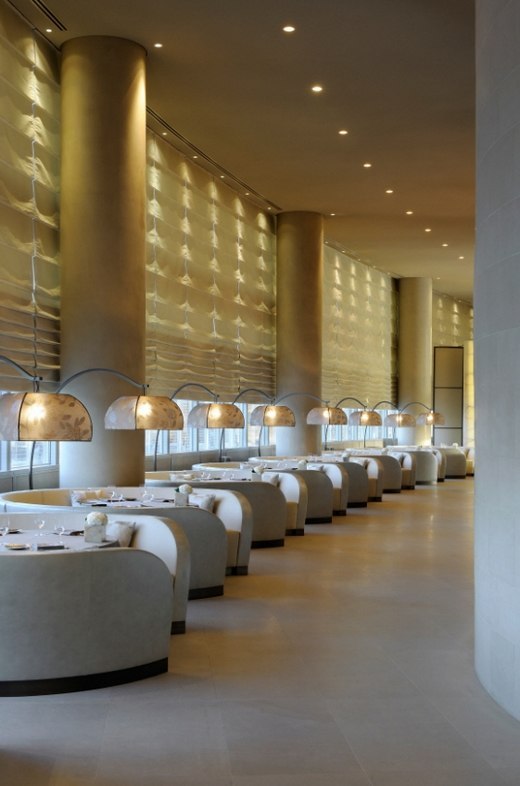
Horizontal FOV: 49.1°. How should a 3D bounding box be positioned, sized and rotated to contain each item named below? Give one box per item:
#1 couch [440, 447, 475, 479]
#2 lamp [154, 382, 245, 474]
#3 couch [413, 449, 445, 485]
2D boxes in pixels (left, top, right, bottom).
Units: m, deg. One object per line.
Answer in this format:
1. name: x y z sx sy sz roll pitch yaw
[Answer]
1. couch: 5.797 2.026 16.464 0.916 0.880 0.962 0 -2 -6
2. lamp: -0.749 0.777 10.153 1.379 2.000 2.085 -3 -3 27
3. couch: 4.391 1.900 14.752 0.496 0.872 2.199 -1 -2 24
